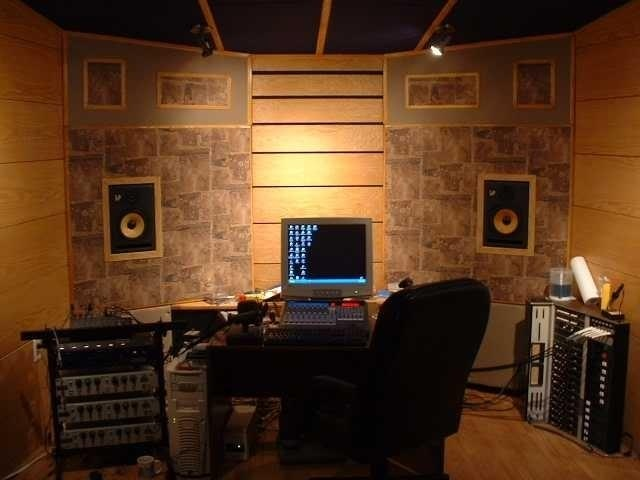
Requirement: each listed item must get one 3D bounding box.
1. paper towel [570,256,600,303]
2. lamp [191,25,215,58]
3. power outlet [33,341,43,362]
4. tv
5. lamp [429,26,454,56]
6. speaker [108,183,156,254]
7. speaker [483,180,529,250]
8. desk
[{"bbox_3d":[1.891,0.275,3.606,0.112,0.422,0.106,-36,-55,27],"label":"paper towel"},{"bbox_3d":[-0.805,-1.410,3.582,0.153,0.168,0.150,-29,16,-38],"label":"lamp"},{"bbox_3d":[-1.826,0.725,3.293,0.050,0.132,0.059,-4,15,-13],"label":"power outlet"},{"bbox_3d":[0.004,0.100,3.319,0.604,0.524,0.357,1,-1,-19],"label":"tv"},{"bbox_3d":[0.870,-1.438,3.623,0.085,0.143,0.083,-19,57,-32],"label":"lamp"},{"bbox_3d":[-1.409,-0.156,3.923,0.390,0.527,0.278,-3,-5,-9],"label":"speaker"},{"bbox_3d":[1.526,-0.216,3.978,0.346,0.559,0.408,-6,9,-36],"label":"speaker"},{"bbox_3d":[-0.122,0.649,3.075,1.286,0.920,0.770,0,12,1],"label":"desk"}]
